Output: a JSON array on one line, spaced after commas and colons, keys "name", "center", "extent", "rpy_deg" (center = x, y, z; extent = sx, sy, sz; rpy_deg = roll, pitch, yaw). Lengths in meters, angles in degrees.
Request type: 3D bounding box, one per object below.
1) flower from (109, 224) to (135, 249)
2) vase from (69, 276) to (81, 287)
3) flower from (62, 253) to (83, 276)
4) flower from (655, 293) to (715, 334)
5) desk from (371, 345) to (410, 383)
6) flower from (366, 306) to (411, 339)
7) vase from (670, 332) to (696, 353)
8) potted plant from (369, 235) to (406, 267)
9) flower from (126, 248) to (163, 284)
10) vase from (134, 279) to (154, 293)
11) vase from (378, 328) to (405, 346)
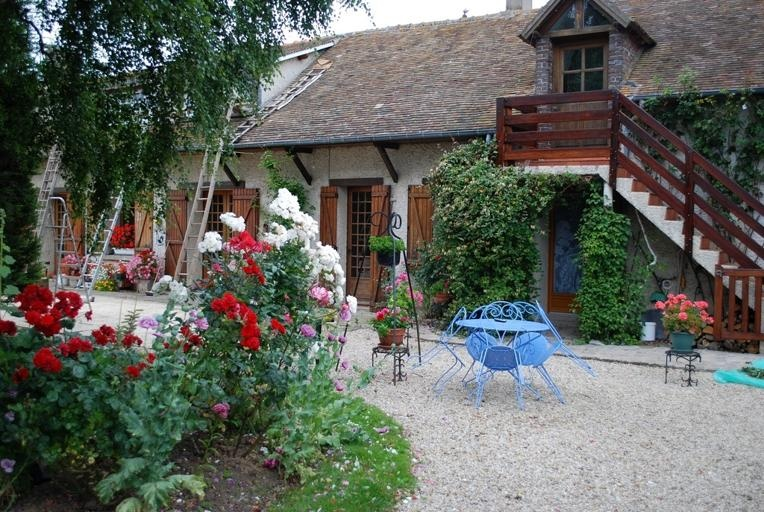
[{"name": "flower", "center": [-6.193, -0.468, 15.421], "extent": [0.501, 0.501, 0.557], "rpy_deg": [2, 0, -12]}, {"name": "vase", "center": [-6.818, 0.566, 14.333], "extent": [0.147, 0.201, 0.277], "rpy_deg": [2, -1, -26]}, {"name": "flower", "center": [-7.027, 0.202, 14.671], "extent": [0.330, 0.418, 0.360], "rpy_deg": [12, 17, 20]}, {"name": "flower", "center": [4.072, 0.765, 8.655], "extent": [0.449, 0.363, 0.392], "rpy_deg": [-11, 18, -13]}, {"name": "desk", "center": [0.102, 1.301, 8.491], "extent": [0.448, 0.530, 1.142], "rpy_deg": [1, 10, 1]}, {"name": "flower", "center": [0.100, 0.919, 8.816], "extent": [0.541, 0.441, 0.577], "rpy_deg": [0, -5, -1]}, {"name": "vase", "center": [3.953, 1.129, 8.551], "extent": [0.264, 0.220, 0.282], "rpy_deg": [0, -9, 1]}, {"name": "potted plant", "center": [0.071, -0.062, 8.852], "extent": [0.454, 0.431, 0.411], "rpy_deg": [1, 9, 1]}, {"name": "flower", "center": [-5.362, 0.227, 14.568], "extent": [0.664, 0.813, 0.631], "rpy_deg": [4, -6, -30]}, {"name": "vase", "center": [-5.170, 0.631, 14.063], "extent": [0.430, 0.312, 0.417], "rpy_deg": [0, -8, -1]}, {"name": "vase", "center": [0.127, 1.031, 8.249], "extent": [0.226, 0.162, 0.240], "rpy_deg": [1, -8, -7]}]
